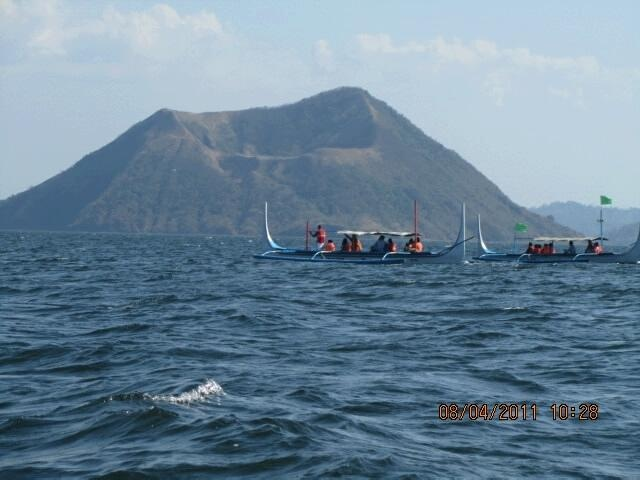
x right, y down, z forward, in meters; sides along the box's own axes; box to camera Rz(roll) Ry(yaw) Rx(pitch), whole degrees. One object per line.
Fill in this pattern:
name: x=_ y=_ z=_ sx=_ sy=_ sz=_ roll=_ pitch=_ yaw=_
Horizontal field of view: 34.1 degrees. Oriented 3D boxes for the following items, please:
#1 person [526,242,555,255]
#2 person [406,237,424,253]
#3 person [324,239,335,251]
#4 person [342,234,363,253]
person: x=15.590 y=0.665 z=73.036 sx=1.331 sy=0.631 sz=1.837 roll=1 pitch=3 yaw=26
person: x=6.175 y=0.291 z=67.448 sx=0.898 sy=1.130 sz=0.519 roll=6 pitch=-7 yaw=1
person: x=0.688 y=0.450 z=70.618 sx=0.519 sy=0.503 sz=0.965 roll=2 pitch=6 yaw=3
person: x=2.292 y=0.261 z=69.067 sx=1.505 sy=1.335 sz=0.969 roll=-2 pitch=7 yaw=-5
